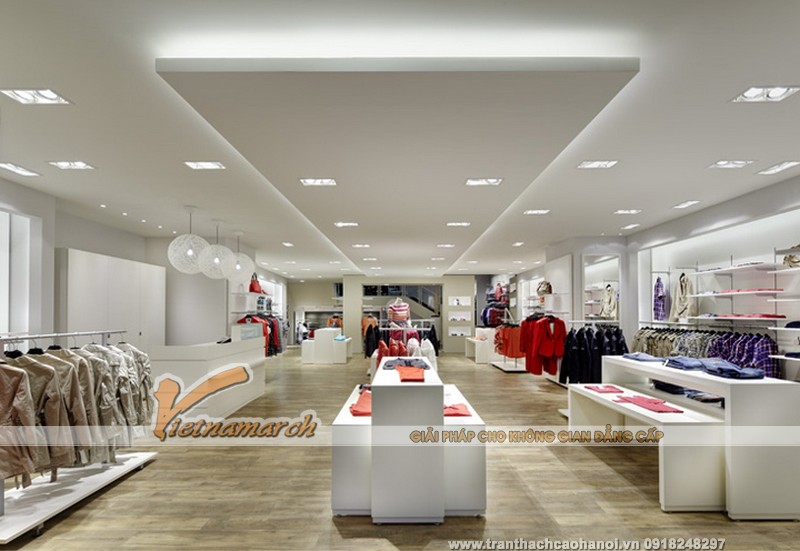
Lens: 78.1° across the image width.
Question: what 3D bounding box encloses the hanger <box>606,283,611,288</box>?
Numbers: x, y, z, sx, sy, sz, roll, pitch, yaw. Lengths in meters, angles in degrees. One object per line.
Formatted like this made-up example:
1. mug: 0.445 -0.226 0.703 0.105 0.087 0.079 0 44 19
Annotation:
1. hanger: 4.090 0.205 9.695 0.048 0.094 0.129 -2 5 -17

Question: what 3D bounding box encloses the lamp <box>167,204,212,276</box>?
1. lamp: -3.296 -0.548 7.706 0.500 1.017 1.823 -3 5 -22

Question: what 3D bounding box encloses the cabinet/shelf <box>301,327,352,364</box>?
1. cabinet/shelf: -2.218 2.075 14.590 1.083 0.791 1.180 0 -4 0

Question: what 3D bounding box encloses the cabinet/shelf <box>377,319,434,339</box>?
1. cabinet/shelf: 0.101 1.138 10.366 1.127 0.379 0.717 1 -8 -3

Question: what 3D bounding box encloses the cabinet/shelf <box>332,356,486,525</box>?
1. cabinet/shelf: 0.051 1.455 5.035 1.268 0.983 1.781 0 -6 1

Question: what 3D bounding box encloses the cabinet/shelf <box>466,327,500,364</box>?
1. cabinet/shelf: 2.447 2.098 14.925 0.708 1.201 2.545 0 5 0

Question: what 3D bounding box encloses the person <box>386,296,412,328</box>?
1. person: -0.033 0.684 8.799 0.367 0.503 1.104 0 5 -1
